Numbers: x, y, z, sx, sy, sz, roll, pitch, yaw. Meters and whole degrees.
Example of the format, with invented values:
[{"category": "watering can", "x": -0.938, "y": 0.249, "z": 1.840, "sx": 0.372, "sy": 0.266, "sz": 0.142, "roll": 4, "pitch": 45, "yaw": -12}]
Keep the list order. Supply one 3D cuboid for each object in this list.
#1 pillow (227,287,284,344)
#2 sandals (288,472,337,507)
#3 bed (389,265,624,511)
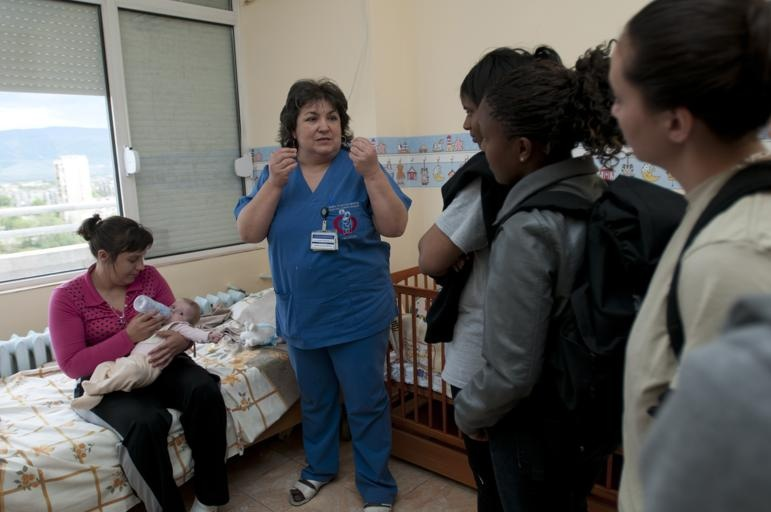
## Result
[{"category": "pillow", "x": -0.751, "y": 0.372, "z": 3.212, "sx": 0.290, "sy": 0.121, "sz": 0.336, "roll": -10, "pitch": 26, "yaw": -28}, {"category": "sandals", "x": -0.375, "y": 1.115, "z": 2.665, "sx": 0.082, "sy": 0.049, "sz": 0.207, "roll": 2, "pitch": 2, "yaw": 34}, {"category": "bed", "x": 0.447, "y": 0.553, "z": 2.984, "sx": 1.076, "sy": 0.637, "sz": 1.066, "roll": 6, "pitch": 7, "yaw": 42}]
